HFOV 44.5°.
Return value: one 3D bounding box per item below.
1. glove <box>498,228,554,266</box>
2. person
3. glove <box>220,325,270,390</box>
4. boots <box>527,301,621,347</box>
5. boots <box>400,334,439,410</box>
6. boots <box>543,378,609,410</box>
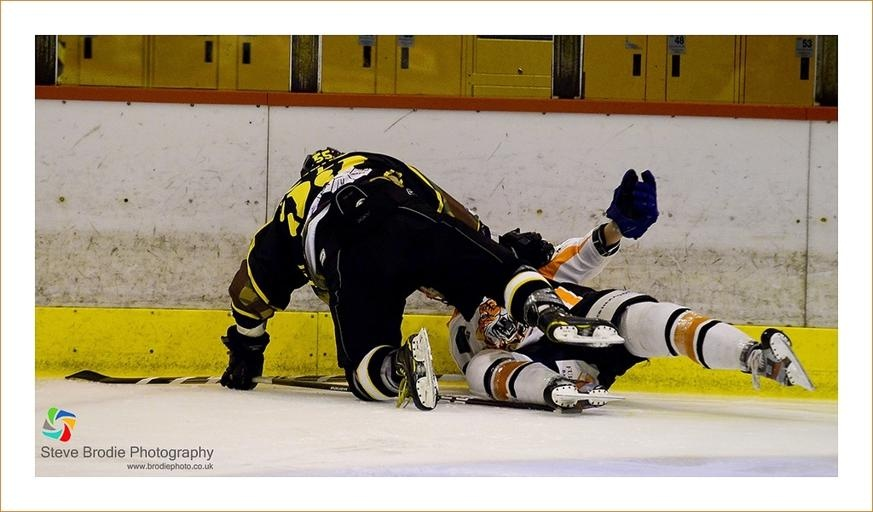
[{"bbox_3d":[0.641,-0.052,7.367,0.469,0.164,0.208,24,2,-1],"label":"glove"},{"bbox_3d":[0.255,0.129,7.117,3.593,1.314,1.092,1,-1,14],"label":"person"},{"bbox_3d":[-1.340,0.723,7.597,0.398,0.496,0.279,7,10,0],"label":"glove"},{"bbox_3d":[0.846,0.418,6.506,0.376,0.141,0.275,4,0,40],"label":"boots"},{"bbox_3d":[-0.107,0.727,6.736,0.194,0.533,0.238,-6,2,-29],"label":"boots"},{"bbox_3d":[0.919,0.883,6.865,0.407,0.155,0.399,2,-1,8],"label":"boots"}]
